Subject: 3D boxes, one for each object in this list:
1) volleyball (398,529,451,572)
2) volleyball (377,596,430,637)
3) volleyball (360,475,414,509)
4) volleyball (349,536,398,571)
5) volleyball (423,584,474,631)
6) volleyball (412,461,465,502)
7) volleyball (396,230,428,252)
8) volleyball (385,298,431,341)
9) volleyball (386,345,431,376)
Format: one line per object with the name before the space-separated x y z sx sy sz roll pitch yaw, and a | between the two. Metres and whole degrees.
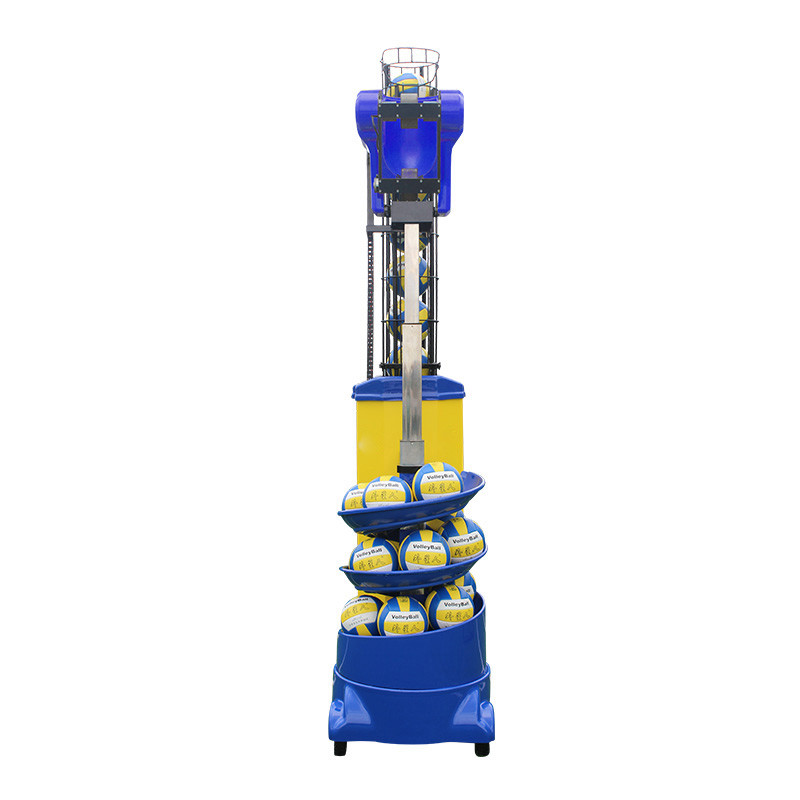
volleyball | 0.127 0.750 6.529 0.187 0.204 0.215 3 -85 -13
volleyball | 0.020 1.071 6.525 0.192 0.190 0.210 0 -88 -10
volleyball | -0.073 0.456 6.561 0.157 0.172 0.203 10 -106 -33
volleyball | -0.136 0.777 6.619 0.165 0.181 0.189 -2 -92 10
volleyball | 0.230 1.018 6.647 0.198 0.210 0.238 0 -80 5
volleyball | 0.176 0.403 6.550 0.197 0.179 0.227 -3 -83 -10
volleyball | 0.060 -0.876 7.160 0.120 0.132 0.158 1 -94 -7
volleyball | 0.022 -0.441 7.179 0.209 0.214 0.271 0 -82 -28
volleyball | 0.047 -0.188 7.110 0.215 0.227 0.283 1 -80 7
